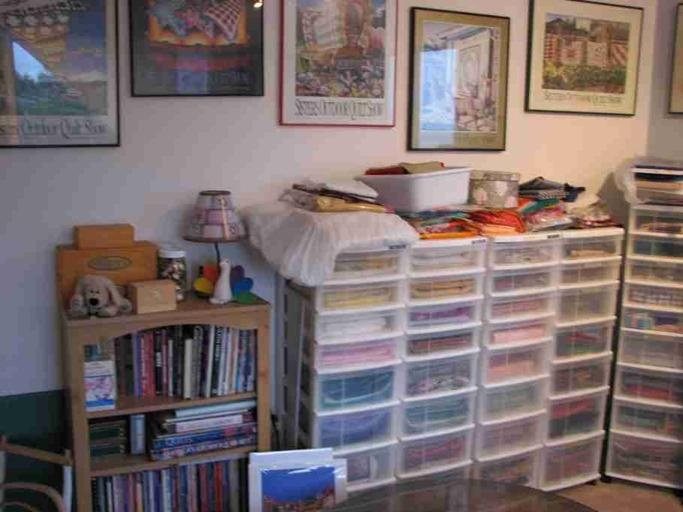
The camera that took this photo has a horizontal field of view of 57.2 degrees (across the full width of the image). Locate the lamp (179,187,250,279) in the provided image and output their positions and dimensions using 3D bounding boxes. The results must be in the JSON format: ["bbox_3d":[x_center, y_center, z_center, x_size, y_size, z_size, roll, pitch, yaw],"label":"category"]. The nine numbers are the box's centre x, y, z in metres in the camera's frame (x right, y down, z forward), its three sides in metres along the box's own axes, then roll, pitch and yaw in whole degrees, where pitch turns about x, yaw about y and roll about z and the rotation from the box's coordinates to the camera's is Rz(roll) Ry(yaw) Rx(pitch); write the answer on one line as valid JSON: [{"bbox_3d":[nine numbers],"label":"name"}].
[{"bbox_3d":[-0.550,-0.167,2.684,0.260,0.215,0.112,-5,10,-11],"label":"lamp"}]

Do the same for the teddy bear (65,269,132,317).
[{"bbox_3d":[-0.973,0.145,2.548,0.236,0.139,0.296,9,9,-17],"label":"teddy bear"}]

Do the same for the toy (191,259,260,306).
[{"bbox_3d":[-0.507,0.107,2.700,0.242,0.134,0.205,0,8,-6],"label":"toy"}]

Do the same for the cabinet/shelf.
[{"bbox_3d":[-0.721,0.574,2.557,1.082,1.042,0.334,-3,12,-18],"label":"cabinet/shelf"}]
